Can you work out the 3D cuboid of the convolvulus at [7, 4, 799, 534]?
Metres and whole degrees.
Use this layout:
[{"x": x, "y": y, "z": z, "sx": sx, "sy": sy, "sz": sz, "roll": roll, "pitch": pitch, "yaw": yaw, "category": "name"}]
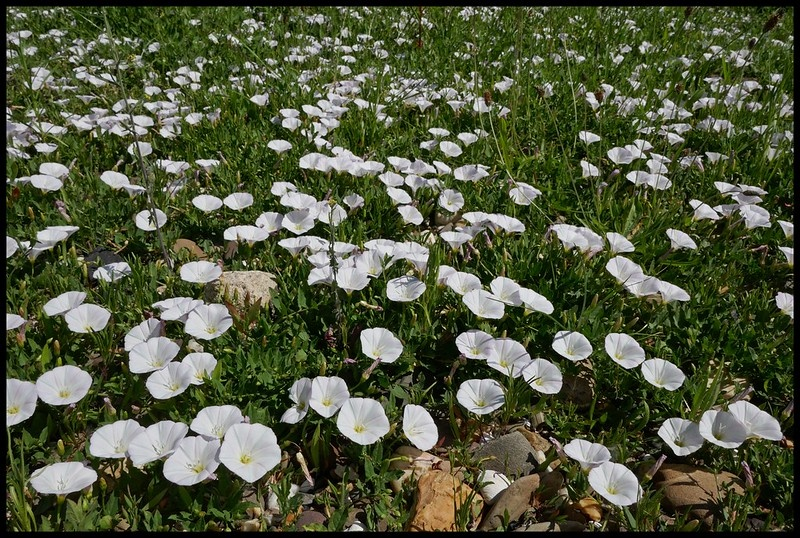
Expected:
[{"x": 0.013, "y": 0.010, "z": 4.713, "sx": 3.766, "sy": 3.903, "sz": 3.776, "roll": 1, "pitch": 81, "yaw": 25, "category": "convolvulus"}]
